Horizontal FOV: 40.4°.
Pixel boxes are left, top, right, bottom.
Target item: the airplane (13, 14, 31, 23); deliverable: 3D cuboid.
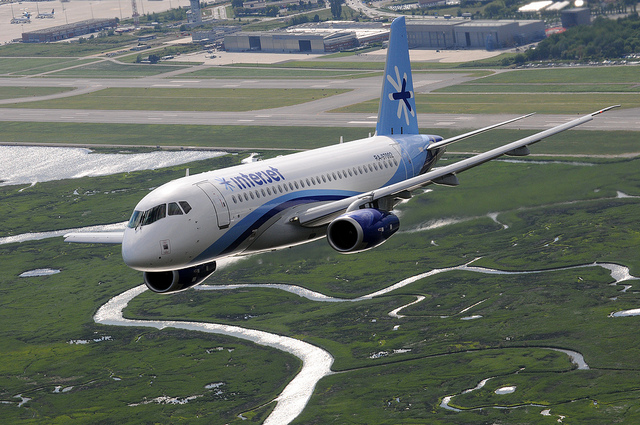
[{"bbox_3d":[-130.978,-85.545,381.681,6.782,3.957,8.365,-7,9,-10],"label":"airplane"}]
